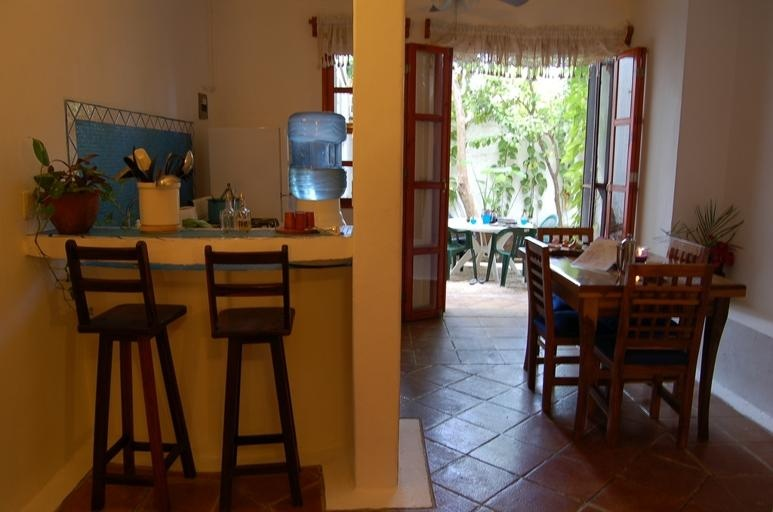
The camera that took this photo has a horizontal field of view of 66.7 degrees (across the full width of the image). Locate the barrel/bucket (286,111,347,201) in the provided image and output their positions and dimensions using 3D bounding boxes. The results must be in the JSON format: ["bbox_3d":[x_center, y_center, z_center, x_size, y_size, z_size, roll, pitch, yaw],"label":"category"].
[{"bbox_3d":[-0.559,-0.824,4.776,0.636,0.706,0.637,1,13,0],"label":"barrel/bucket"}]

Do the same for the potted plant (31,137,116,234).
[{"bbox_3d":[-1.928,-0.422,3.628,0.497,0.565,0.474,-6,14,-45],"label":"potted plant"}]

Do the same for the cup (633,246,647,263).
[{"bbox_3d":[1.995,-0.015,4.616,0.127,0.150,0.124,-2,4,0],"label":"cup"}]

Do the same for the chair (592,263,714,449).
[{"bbox_3d":[1.840,0.650,4.188,0.743,1.325,0.564,1,12,16],"label":"chair"}]

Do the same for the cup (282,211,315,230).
[{"bbox_3d":[-0.571,-0.235,3.814,0.178,0.128,0.103,4,7,12],"label":"cup"}]

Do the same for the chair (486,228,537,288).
[{"bbox_3d":[1.655,-0.024,7.848,0.528,0.794,0.483,-8,18,-28],"label":"chair"}]

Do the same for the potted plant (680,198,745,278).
[{"bbox_3d":[3.092,-0.233,5.854,0.635,0.802,0.679,5,8,43],"label":"potted plant"}]

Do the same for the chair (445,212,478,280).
[{"bbox_3d":[0.947,-0.058,7.947,0.428,0.752,0.493,-1,5,-12],"label":"chair"}]

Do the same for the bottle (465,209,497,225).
[{"bbox_3d":[1.332,-0.539,8.234,0.403,0.187,0.249,2,6,7],"label":"bottle"}]

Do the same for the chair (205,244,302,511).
[{"bbox_3d":[-0.803,0.694,3.619,0.519,1.606,0.551,-4,12,-10],"label":"chair"}]

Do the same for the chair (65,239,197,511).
[{"bbox_3d":[-1.528,0.680,3.546,0.629,1.631,0.558,-4,12,-9],"label":"chair"}]
